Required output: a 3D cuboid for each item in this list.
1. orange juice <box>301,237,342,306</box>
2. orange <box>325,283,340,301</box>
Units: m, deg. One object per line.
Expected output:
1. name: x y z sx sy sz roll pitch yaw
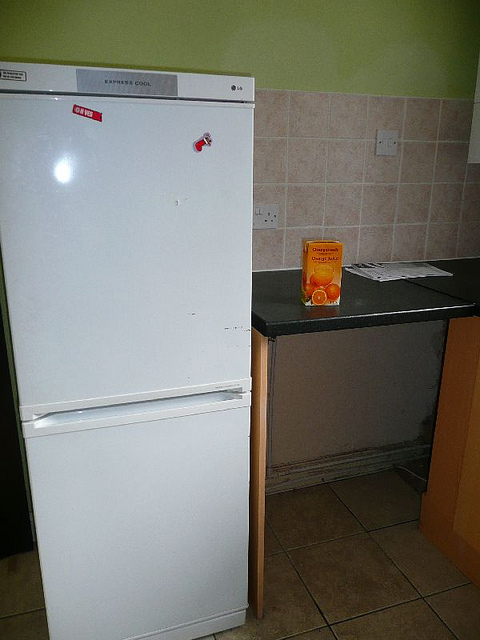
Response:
1. orange juice: 0.234 -0.127 1.404 0.120 0.185 0.127 3 4 -13
2. orange: 0.246 -0.074 1.359 0.037 0.048 0.038 14 -17 -35
